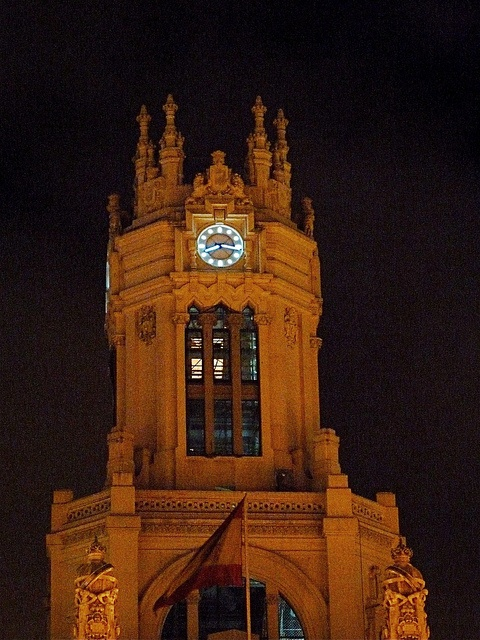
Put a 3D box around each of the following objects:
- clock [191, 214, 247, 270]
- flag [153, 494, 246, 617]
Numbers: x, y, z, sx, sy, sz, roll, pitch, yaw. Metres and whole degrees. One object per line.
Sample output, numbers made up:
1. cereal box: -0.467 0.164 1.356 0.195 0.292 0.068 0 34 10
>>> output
1. clock: -0.752 -2.558 44.770 1.528 1.832 0.225 -1 1 -2
2. flag: -0.936 5.768 34.368 2.275 2.822 0.180 -10 -45 12
